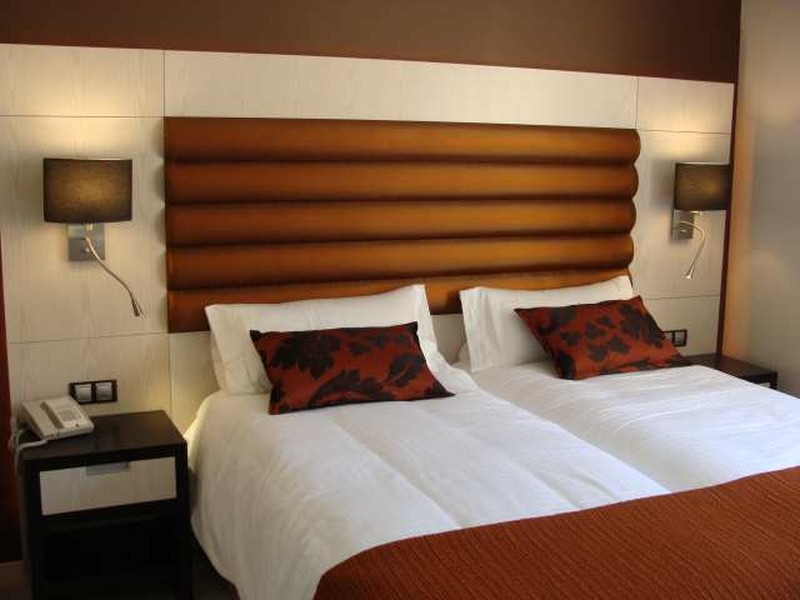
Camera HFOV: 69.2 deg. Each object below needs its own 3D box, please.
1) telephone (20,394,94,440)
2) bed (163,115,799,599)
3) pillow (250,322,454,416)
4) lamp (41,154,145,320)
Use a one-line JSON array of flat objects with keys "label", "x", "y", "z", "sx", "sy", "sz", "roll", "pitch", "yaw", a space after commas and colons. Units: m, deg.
[{"label": "telephone", "x": -1.572, "y": 0.524, "z": 2.638, "sx": 0.288, "sy": 0.088, "sz": 0.223, "roll": 25, "pitch": 14, "yaw": 31}, {"label": "bed", "x": 0.243, "y": 0.182, "z": 2.673, "sx": 2.198, "sy": 1.502, "sz": 2.286, "roll": -1, "pitch": 3, "yaw": -16}, {"label": "pillow", "x": -0.250, "y": 0.326, "z": 2.727, "sx": 0.845, "sy": 0.397, "sz": 0.325, "roll": -3, "pitch": 9, "yaw": -24}, {"label": "lamp", "x": -1.453, "y": -0.289, "z": 2.742, "sx": 0.380, "sy": 0.741, "sz": 0.212, "roll": -7, "pitch": 12, "yaw": -38}]
